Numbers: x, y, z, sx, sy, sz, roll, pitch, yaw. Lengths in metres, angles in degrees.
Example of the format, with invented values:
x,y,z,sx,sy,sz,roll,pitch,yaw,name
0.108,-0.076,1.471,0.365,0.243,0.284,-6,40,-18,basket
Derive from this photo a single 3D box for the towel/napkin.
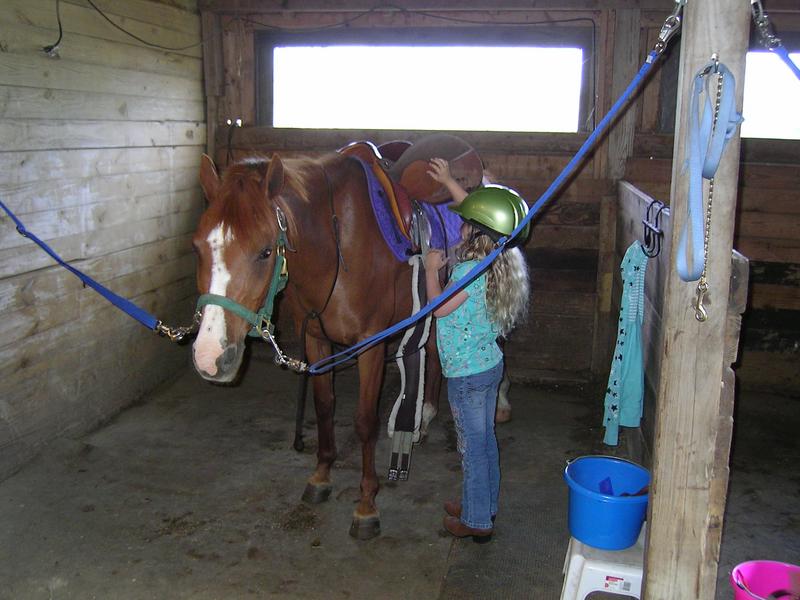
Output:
x,y,z,sx,sy,sz,roll,pitch,yaw,name
1.208,0.247,3.376,0.195,1.080,0.328,7,10,19,towel/napkin

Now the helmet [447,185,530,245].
x,y,z,sx,sy,sz,roll,pitch,yaw,name
0.408,-0.356,2.893,0.313,0.169,0.239,32,23,0,helmet

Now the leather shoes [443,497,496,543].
x,y,z,sx,sy,sz,roll,pitch,yaw,name
0.320,1.095,3.181,0.276,0.143,0.104,23,26,39,leather shoes

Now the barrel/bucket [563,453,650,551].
x,y,z,sx,sy,sz,roll,pitch,yaw,name
0.867,0.837,2.718,0.341,0.261,0.353,1,12,0,barrel/bucket

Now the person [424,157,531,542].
x,y,z,sx,sy,sz,roll,pitch,yaw,name
0.299,0.320,3.006,0.462,1.691,0.699,7,10,18,person

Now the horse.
x,y,z,sx,sy,sz,roll,pitch,yaw,name
-0.180,0.114,3.550,0.620,1.950,2.251,7,17,31,horse
